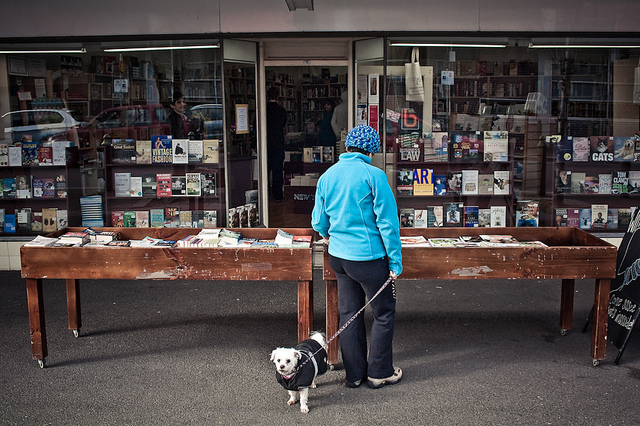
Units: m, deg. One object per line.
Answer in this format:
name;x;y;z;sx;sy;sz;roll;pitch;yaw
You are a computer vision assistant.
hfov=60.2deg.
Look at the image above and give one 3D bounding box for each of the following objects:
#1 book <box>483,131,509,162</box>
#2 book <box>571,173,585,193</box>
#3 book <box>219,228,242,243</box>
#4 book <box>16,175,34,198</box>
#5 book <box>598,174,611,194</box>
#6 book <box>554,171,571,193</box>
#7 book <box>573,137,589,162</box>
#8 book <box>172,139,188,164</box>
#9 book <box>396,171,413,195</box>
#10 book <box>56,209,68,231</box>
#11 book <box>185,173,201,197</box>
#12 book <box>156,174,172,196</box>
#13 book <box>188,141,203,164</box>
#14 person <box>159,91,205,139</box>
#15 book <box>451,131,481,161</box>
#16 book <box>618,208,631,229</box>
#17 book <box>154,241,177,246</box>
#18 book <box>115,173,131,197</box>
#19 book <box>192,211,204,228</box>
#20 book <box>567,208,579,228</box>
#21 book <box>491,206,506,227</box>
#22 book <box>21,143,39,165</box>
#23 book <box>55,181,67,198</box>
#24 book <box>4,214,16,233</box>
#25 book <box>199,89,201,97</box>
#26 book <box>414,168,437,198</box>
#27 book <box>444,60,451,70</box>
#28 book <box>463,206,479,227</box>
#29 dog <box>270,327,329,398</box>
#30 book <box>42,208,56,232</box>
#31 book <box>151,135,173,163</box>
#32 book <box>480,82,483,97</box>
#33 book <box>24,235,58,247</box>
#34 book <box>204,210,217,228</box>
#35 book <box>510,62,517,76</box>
book;2.614;-1.014;8.285;0.384;0.469;0.039;0;-3;3
book;3.897;-0.472;8.380;0.263;0.366;0.038;1;11;5
book;-0.977;0.267;6.070;0.243;0.108;0.391;-3;10;-9
book;-4.551;-0.407;8.547;0.282;0.354;0.043;-1;9;5
book;4.295;-0.432;8.377;0.186;0.300;0.051;-4;10;-10
book;3.664;-0.467;8.387;0.246;0.326;0.038;-2;9;-1
book;3.900;-0.951;8.302;0.291;0.304;0.069;1;0;0
book;-2.131;-0.962;8.463;0.349;0.472;0.056;1;6;1
book;1.277;-0.466;8.356;0.360;0.365;0.085;2;0;5
book;-3.992;0.102;8.578;0.177;0.286;0.135;-4;10;-10
book;-1.947;-0.446;8.518;0.341;0.481;0.052;0;2;-2
book;-2.398;-0.446;8.542;0.338;0.473;0.047;0;3;-3
book;-1.902;-0.948;8.448;0.322;0.438;0.048;2;20;0
person;-2.152;-1.312;8.564;0.655;0.969;0.511;-6;20;-31
book;2.195;-0.979;8.349;0.498;0.482;0.172;0;-3;0
book;4.602;0.093;8.407;0.163;0.314;0.147;5;12;37
book;-1.627;0.329;5.878;0.210;0.012;0.215;-2;10;3
book;-3.035;-0.428;8.695;0.309;0.327;0.330;1;3;-8
book;-1.893;0.104;8.575;0.179;0.242;0.060;-2;9;0
book;3.862;0.071;8.462;0.177;0.278;0.052;-4;10;-9
book;2.681;0.052;8.387;0.295;0.415;0.041;-1;0;-2
book;-4.437;-0.924;8.478;0.318;0.410;0.046;2;16;-5
book;-3.991;-0.353;8.539;0.198;0.246;0.031;0;10;10
book;-4.802;0.178;8.591;0.180;0.279;0.039;-2;9;-2
book;-1.799;-1.801;8.314;0.026;0.102;0.003;-2;9;2
book;1.586;-0.418;8.459;0.338;0.430;0.259;-2;-18;26
book;1.881;-2.197;8.198;0.094;0.092;0.062;-1;4;9
book;2.291;0.050;8.425;0.237;0.297;0.030;-2;9;-1
dog;-0.160;1.348;5.208;0.301;0.479;0.859;2;15;19
book;-4.207;0.113;8.613;0.215;0.366;0.069;0;10;10
book;-2.422;-1.000;8.466;0.391;0.500;0.266;0;4;-2
book;2.389;-1.838;8.226;0.036;0.193;0.033;0;10;13
book;-2.927;0.312;5.831;0.167;0.056;0.169;2;11;1
book;-1.696;0.098;8.593;0.239;0.249;0.058;1;1;-1
book;2.856;-2.138;8.195;0.109;0.192;0.015;-3;9;-5
